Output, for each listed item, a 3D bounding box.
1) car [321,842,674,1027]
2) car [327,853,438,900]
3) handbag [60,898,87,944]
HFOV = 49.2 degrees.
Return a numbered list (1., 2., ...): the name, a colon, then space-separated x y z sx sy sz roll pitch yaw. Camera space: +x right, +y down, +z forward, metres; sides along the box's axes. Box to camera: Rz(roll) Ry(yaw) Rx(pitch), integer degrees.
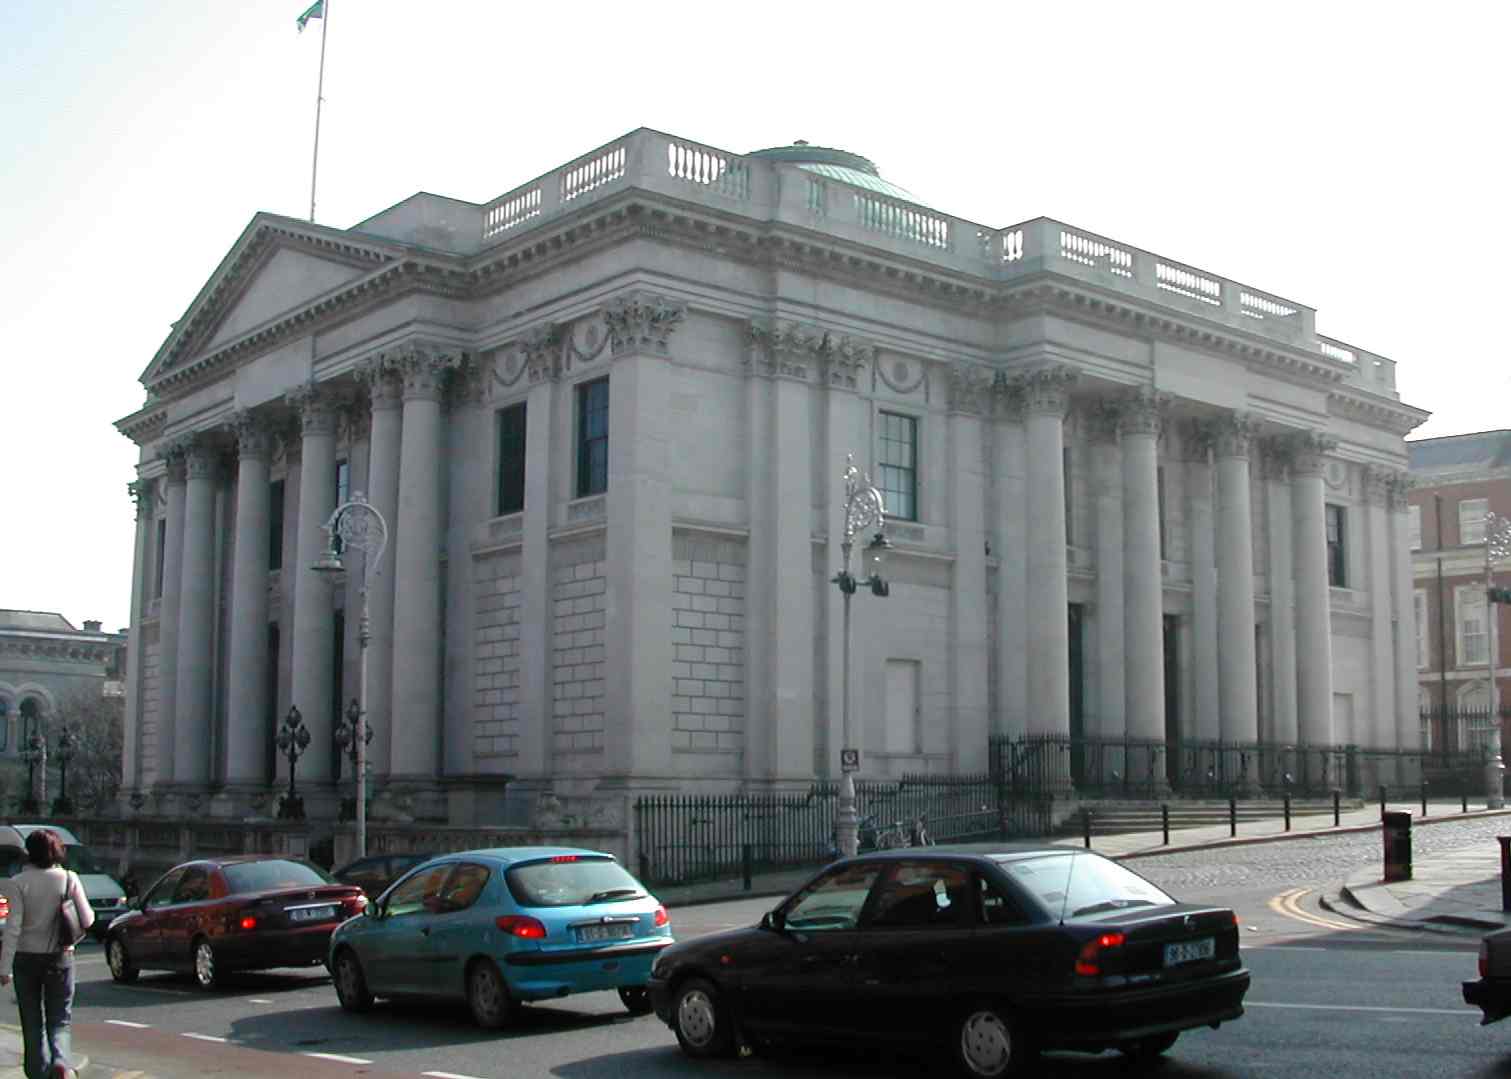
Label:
1. car: -3.309 4.994 21.475 3.663 1.524 2.236 -4 -8 37
2. car: -6.641 5.821 29.120 2.613 0.849 1.186 0 -8 15
3. handbag: -7.253 4.006 17.476 0.223 0.443 0.421 -7 -9 -4
